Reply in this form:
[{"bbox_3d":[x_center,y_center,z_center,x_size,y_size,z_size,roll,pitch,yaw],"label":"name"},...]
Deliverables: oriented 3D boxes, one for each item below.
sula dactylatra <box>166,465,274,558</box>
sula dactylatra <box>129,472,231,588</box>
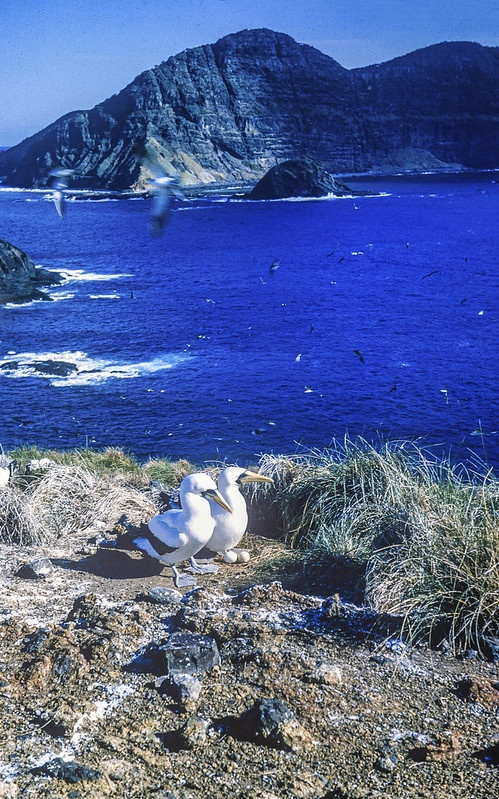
[{"bbox_3d":[-0.508,1.279,9.641,1.335,1.296,0.548,-2,25,-14],"label":"sula dactylatra"},{"bbox_3d":[-0.767,1.376,9.319,1.405,1.135,0.666,6,13,38],"label":"sula dactylatra"}]
